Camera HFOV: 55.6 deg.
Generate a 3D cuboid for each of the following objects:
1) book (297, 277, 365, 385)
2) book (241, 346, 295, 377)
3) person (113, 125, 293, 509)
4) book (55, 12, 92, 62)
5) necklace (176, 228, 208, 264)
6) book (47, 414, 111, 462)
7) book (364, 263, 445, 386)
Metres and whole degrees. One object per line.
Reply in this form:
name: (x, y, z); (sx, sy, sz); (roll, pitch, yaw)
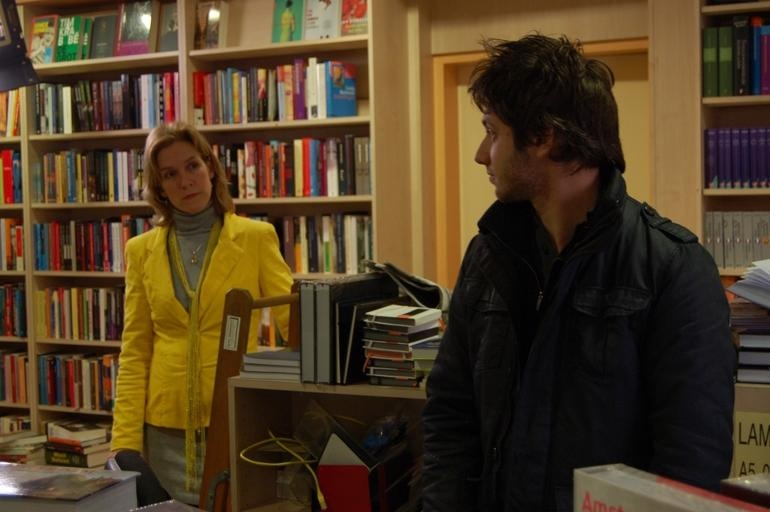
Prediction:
book: (-0.215, 0.250, 2.653); (0.259, 0.380, 0.378); (0, 1, 8)
book: (-0.402, 0.373, 2.552); (0.214, 0.093, 0.104); (-3, 1, 0)
person: (-0.754, 0.208, 2.917); (0.676, 1.543, 0.329); (-3, 0, -17)
book: (-1.984, -1.384, 4.727); (0.065, 0.291, 0.272); (9, 0, -44)
necklace: (-0.778, -0.039, 2.922); (0.095, 0.140, 0.047); (-2, -11, 0)
book: (-1.914, 1.138, 4.499); (0.352, 0.128, 0.322); (5, 6, 24)
book: (0.059, 0.216, 2.487); (0.296, 0.144, 0.381); (4, 12, 15)
